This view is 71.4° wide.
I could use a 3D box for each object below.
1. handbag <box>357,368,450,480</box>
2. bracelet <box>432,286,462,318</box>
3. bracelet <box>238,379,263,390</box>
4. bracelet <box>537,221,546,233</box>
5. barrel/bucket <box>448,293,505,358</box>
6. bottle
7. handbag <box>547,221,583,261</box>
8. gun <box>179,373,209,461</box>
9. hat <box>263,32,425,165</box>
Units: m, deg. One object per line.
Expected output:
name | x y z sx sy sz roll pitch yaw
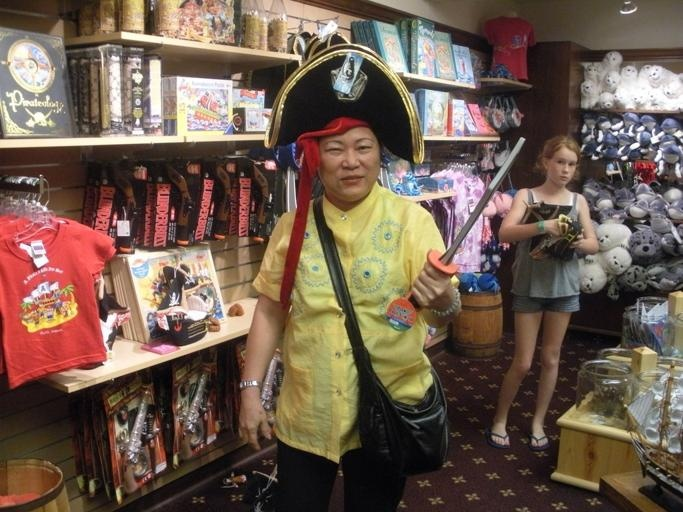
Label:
handbag | 0.228 0.511 1.568 0.284 0.350 0.177 -2 -13 -26
bracelet | 0.335 0.127 1.456 0.039 0.093 0.082 32 -33 2
bracelet | -0.317 0.447 1.650 0.055 0.033 0.057 -17 -32 39
bracelet | 1.265 -0.182 3.032 0.016 0.057 0.058 6 5 -10
barrel/bucket | 1.395 0.670 5.034 0.595 0.680 0.617 -3 7 0
bottle | 1.583 0.786 2.888 0.267 0.414 0.258 -1 11 0
handbag | 1.413 -0.122 3.134 0.247 0.259 0.182 -2 25 -36
gun | -0.889 0.969 2.895 0.122 0.616 0.243 9 15 15
hat | 0.067 -0.523 1.717 0.588 0.231 0.593 1 -15 -19
